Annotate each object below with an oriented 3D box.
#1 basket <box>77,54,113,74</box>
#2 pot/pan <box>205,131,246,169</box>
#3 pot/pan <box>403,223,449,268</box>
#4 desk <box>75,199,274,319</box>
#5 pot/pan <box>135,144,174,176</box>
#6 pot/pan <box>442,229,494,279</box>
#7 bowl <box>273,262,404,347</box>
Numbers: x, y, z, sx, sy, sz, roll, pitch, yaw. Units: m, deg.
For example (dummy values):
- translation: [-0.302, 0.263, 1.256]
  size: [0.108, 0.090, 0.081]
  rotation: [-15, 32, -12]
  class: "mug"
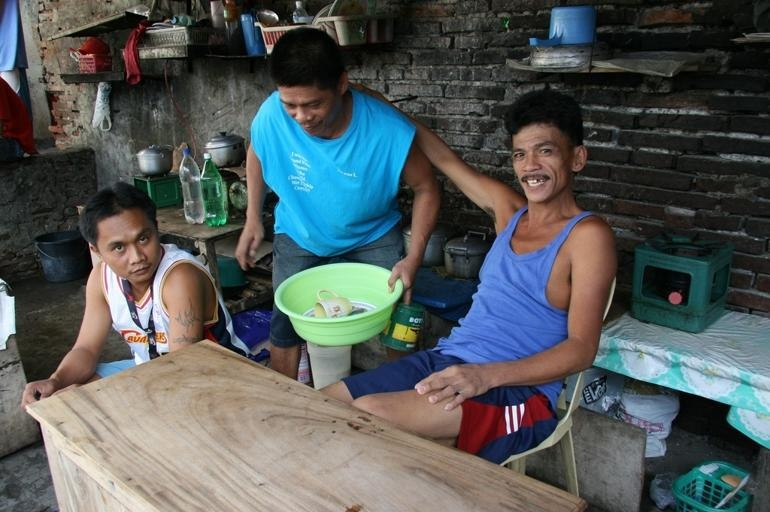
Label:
- translation: [-3.306, -2.152, 6.425]
  size: [0.318, 0.150, 0.230]
  rotation: [11, 34, 17]
  class: "basket"
- translation: [-1.381, -0.886, 4.829]
  size: [0.328, 0.244, 0.319]
  rotation: [-1, 21, 0]
  class: "pot/pan"
- translation: [0.300, -0.078, 4.247]
  size: [0.306, 0.259, 0.292]
  rotation: [4, 15, 15]
  class: "pot/pan"
- translation: [-1.420, -0.064, 4.487]
  size: [0.978, 0.721, 1.381]
  rotation: [-11, 19, -36]
  class: "desk"
- translation: [-2.125, -0.863, 5.264]
  size: [0.333, 0.225, 0.291]
  rotation: [18, 32, 36]
  class: "pot/pan"
- translation: [0.587, 0.002, 4.135]
  size: [0.315, 0.249, 0.397]
  rotation: [15, 30, 32]
  class: "pot/pan"
- translation: [-0.285, 0.223, 3.079]
  size: [0.556, 0.216, 0.534]
  rotation: [1, 23, -1]
  class: "bowl"
